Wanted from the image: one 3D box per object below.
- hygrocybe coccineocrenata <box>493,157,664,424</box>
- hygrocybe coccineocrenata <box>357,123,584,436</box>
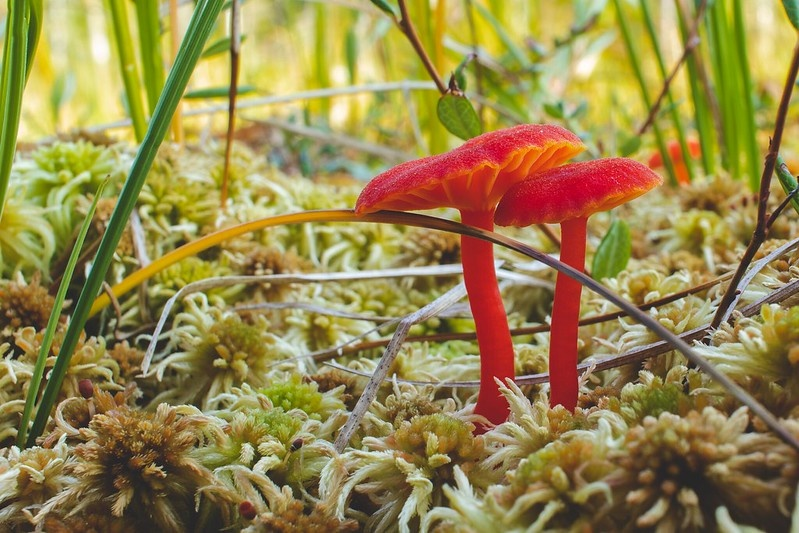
[{"bbox_3d":[0.297,0.026,1.180,0.243,0.392,0.227,3,-14,-44],"label":"hygrocybe coccineocrenata"},{"bbox_3d":[0.127,0.040,1.267,0.401,0.497,0.426,-3,-3,-23],"label":"hygrocybe coccineocrenata"}]
